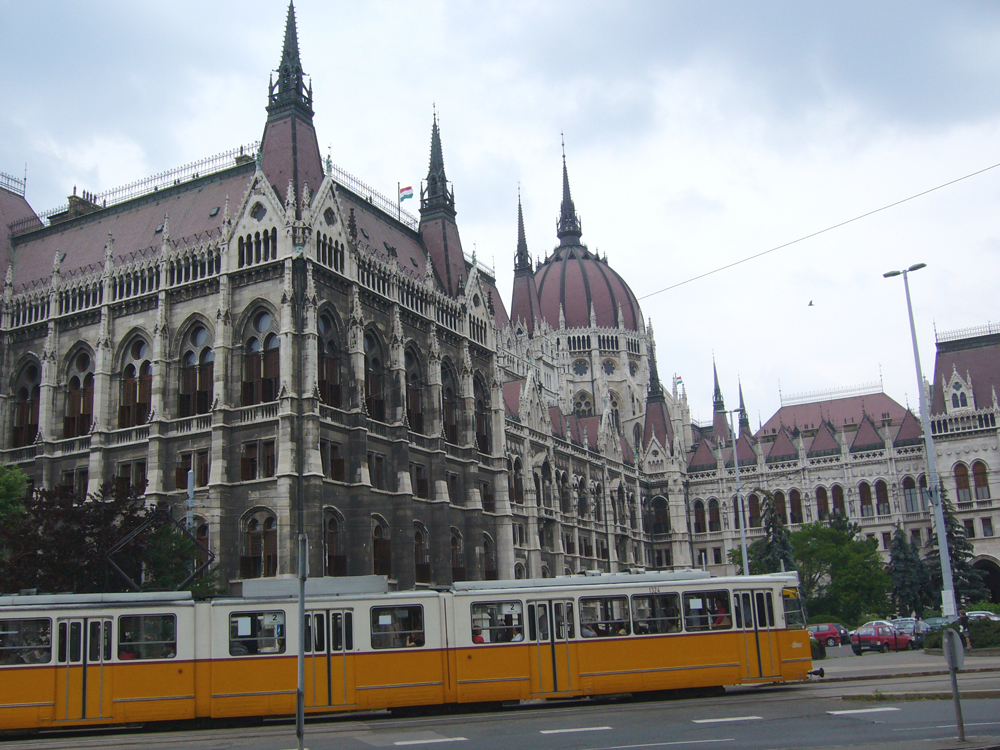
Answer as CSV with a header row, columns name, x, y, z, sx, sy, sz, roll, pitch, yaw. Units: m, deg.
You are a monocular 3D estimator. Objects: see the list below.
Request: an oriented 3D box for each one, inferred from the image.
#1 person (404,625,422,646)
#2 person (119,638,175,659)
name,x,y,z,sx,sy,sz,roll,pitch,yaw
person,-2.787,8.734,39.128,0.835,0.812,0.459,0,-2,0
person,-11.368,8.859,37.629,1.716,0.544,0.252,1,-16,-21
